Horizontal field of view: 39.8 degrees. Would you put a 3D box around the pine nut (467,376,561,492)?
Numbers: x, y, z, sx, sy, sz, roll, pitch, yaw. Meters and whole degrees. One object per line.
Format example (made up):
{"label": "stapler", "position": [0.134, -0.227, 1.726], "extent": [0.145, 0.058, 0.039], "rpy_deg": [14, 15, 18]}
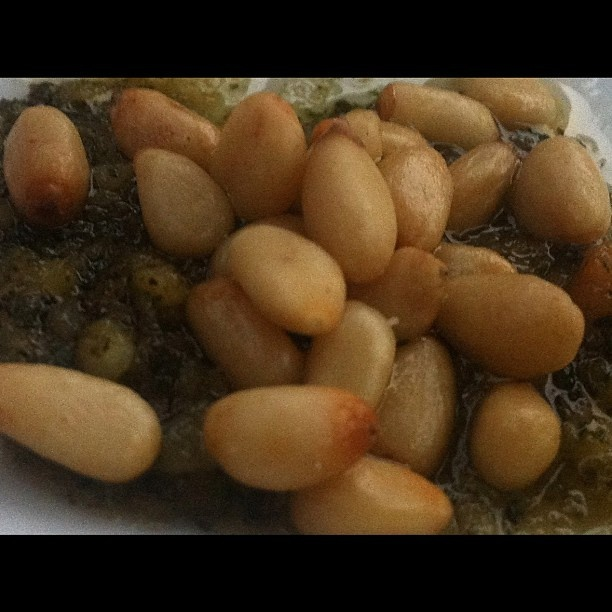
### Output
{"label": "pine nut", "position": [0.130, 0.082, 0.528], "extent": [0.049, 0.036, 0.066], "rpy_deg": [19, 99, 19]}

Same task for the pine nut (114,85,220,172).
{"label": "pine nut", "position": [-0.093, -0.115, 0.548], "extent": [0.071, 0.031, 0.043], "rpy_deg": [34, 77, 6]}

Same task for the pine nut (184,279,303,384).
{"label": "pine nut", "position": [-0.037, 0.021, 0.521], "extent": [0.043, 0.029, 0.084], "rpy_deg": [-38, 88, 16]}

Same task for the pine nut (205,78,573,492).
{"label": "pine nut", "position": [0.062, -0.022, 0.545], "extent": [0.251, 0.108, 0.256], "rpy_deg": [1, 63, -5]}

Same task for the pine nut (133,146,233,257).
{"label": "pine nut", "position": [-0.076, -0.059, 0.544], "extent": [0.052, 0.035, 0.070], "rpy_deg": [-33, 96, -7]}
